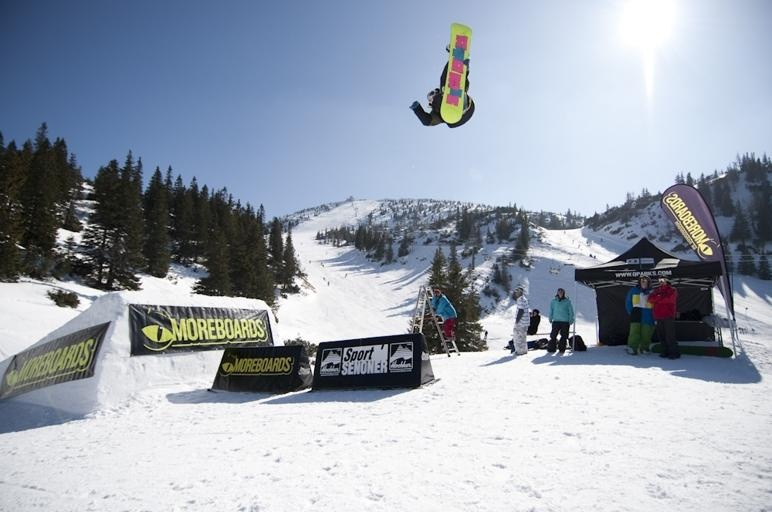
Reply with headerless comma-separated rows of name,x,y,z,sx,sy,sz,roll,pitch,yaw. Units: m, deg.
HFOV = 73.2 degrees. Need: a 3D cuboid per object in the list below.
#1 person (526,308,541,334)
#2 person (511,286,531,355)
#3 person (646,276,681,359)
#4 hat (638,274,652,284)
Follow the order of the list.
person,6.595,2.862,23.214,0.416,1.399,0.957,12,-6,-4
person,5.525,2.897,21.304,0.709,2.564,1.259,0,13,15
person,9.886,2.251,18.448,1.009,2.809,0.823,3,14,30
hat,9.840,0.896,19.789,0.279,0.392,0.353,3,2,5
